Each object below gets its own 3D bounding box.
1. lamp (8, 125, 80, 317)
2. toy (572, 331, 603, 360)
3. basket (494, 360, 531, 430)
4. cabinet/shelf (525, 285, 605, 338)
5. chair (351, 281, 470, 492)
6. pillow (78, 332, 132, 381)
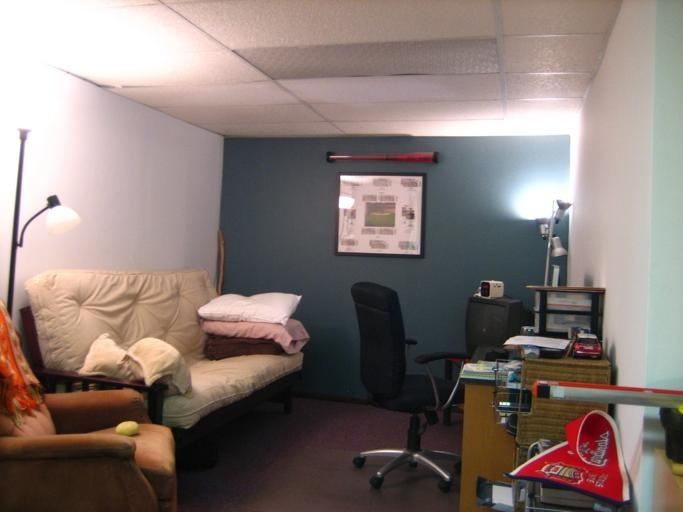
[{"bbox_3d":[-1.968,-0.210,3.557,0.402,1.214,0.342,5,6,36],"label":"lamp"},{"bbox_3d":[1.298,0.474,2.901,0.140,0.122,0.136,3,5,20],"label":"toy"},{"bbox_3d":[0.875,0.702,2.815,0.235,0.355,0.131,-5,-35,16],"label":"basket"},{"bbox_3d":[1.326,0.311,3.205,0.361,0.265,0.302,-1,-3,24],"label":"cabinet/shelf"},{"bbox_3d":[0.451,0.850,3.734,0.702,1.339,0.682,0,5,-14],"label":"chair"},{"bbox_3d":[-1.474,0.636,3.468,0.264,0.083,0.269,5,33,-9],"label":"pillow"}]
